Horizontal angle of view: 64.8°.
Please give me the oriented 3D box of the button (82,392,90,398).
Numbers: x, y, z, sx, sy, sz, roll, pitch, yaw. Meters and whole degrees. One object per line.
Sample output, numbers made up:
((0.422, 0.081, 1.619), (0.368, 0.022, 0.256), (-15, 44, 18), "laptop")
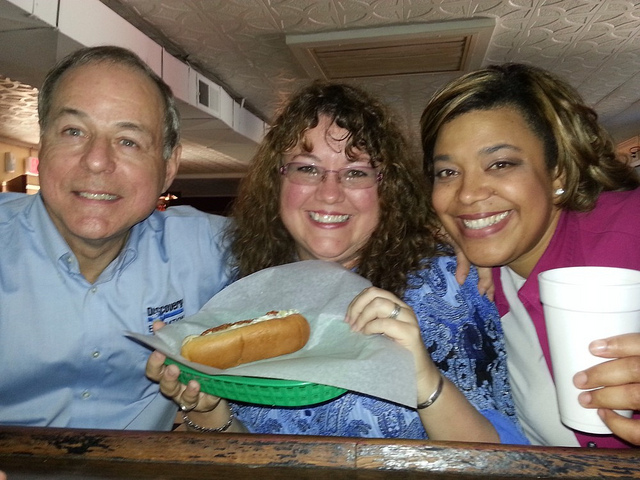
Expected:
((-1.125, 0.747, 2.422), (0.031, 0.024, 0.007), (4, 5, -9), "button")

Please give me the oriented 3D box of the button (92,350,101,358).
((-1.068, 0.546, 2.408), (0.039, 0.034, 0.009), (39, -9, -9), "button")

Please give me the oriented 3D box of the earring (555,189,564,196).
((1.139, -0.231, 2.391), (0.034, 0.030, 0.010), (15, -13, 22), "earring")

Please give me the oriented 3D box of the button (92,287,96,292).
((-1.094, 0.240, 2.438), (0.023, 0.015, 0.007), (-1, -5, -8), "button")

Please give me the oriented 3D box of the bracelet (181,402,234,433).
((-0.541, 0.802, 2.311), (0.194, 0.141, 0.030), (-12, 20, 4), "bracelet")

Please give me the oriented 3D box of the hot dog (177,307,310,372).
((-0.273, 0.438, 2.231), (0.631, 0.142, 0.214), (-7, 6, -13), "hot dog")

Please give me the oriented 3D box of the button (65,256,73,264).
((-1.203, 0.094, 2.414), (0.037, 0.034, 0.009), (5, 4, 3), "button")
